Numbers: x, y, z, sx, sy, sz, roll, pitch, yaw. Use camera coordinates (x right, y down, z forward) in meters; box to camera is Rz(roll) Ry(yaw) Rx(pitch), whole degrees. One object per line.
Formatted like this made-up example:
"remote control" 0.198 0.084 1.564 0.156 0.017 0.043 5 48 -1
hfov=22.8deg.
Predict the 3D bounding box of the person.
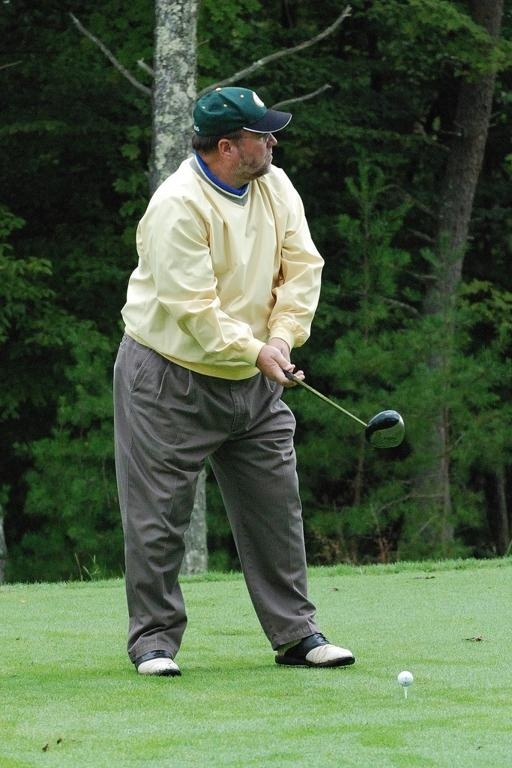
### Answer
"person" -0.122 0.000 4.248 0.791 1.810 0.742 2 1 -33

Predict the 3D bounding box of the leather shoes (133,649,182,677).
"leather shoes" -0.290 0.837 3.811 0.126 0.061 0.141 -2 -1 -11

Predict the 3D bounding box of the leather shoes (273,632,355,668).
"leather shoes" 0.194 0.838 3.965 0.197 0.103 0.369 4 -7 -27
